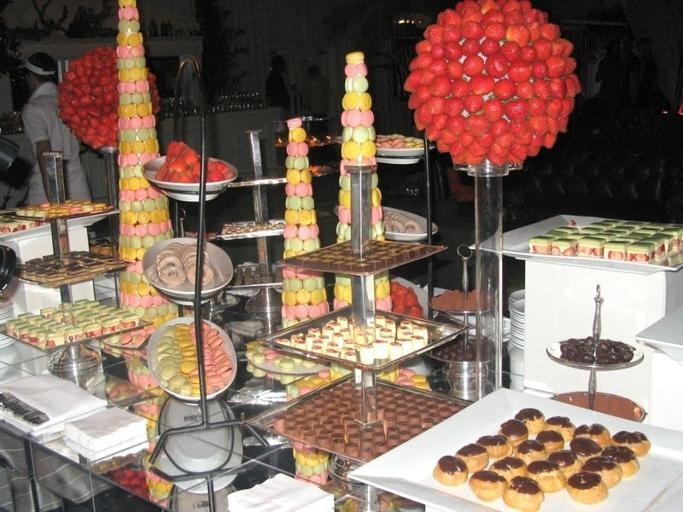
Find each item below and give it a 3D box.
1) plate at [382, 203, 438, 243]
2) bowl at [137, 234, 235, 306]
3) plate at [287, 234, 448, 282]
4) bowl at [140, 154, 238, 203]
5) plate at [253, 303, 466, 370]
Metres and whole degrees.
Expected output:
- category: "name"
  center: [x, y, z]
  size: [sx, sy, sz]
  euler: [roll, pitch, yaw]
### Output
- category: "plate"
  center: [0.292, -0.143, 2.933]
  size: [0.205, 0.043, 0.193]
  euler: [-4, 27, -31]
- category: "bowl"
  center: [-0.636, 0.055, 2.591]
  size: [0.343, 0.088, 0.309]
  euler: [-6, 39, -27]
- category: "plate"
  center: [0.067, -0.001, 1.805]
  size: [0.336, 0.076, 0.316]
  euler: [5, 10, 40]
- category: "bowl"
  center: [-0.547, -0.278, 2.487]
  size: [0.276, 0.067, 0.285]
  euler: [3, 30, -2]
- category: "plate"
  center: [0.076, 0.227, 1.907]
  size: [0.452, 0.131, 0.386]
  euler: [4, 9, 35]
